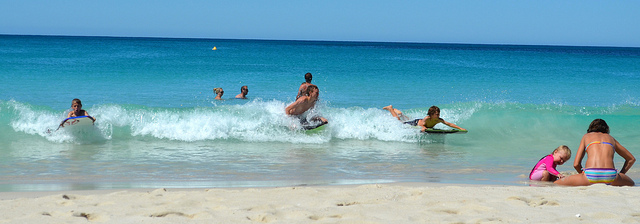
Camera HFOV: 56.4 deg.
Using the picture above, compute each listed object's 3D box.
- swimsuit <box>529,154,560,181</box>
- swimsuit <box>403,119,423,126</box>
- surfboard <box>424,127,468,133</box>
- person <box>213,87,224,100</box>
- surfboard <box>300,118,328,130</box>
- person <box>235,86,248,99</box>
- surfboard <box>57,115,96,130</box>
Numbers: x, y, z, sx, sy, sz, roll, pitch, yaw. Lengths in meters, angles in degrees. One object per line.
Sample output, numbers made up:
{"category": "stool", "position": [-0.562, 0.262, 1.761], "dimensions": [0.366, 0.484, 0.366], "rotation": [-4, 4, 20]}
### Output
{"category": "swimsuit", "position": [24.503, 6.069, 65.089], "dimensions": [2.892, 2.814, 0.349], "rotation": [2, 2, 4]}
{"category": "swimsuit", "position": [10.630, 1.182, 69.217], "dimensions": [1.644, 0.732, 0.290], "rotation": [1, 2, 3]}
{"category": "surfboard", "position": [14.834, 2.124, 69.033], "dimensions": [6.970, 0.471, 1.143], "rotation": [0, 4, 2]}
{"category": "person", "position": [-12.879, -2.377, 76.265], "dimensions": [0.924, 1.466, 1.255], "rotation": [1, 2, -35]}
{"category": "surfboard", "position": [-0.698, 1.425, 69.090], "dimensions": [2.454, 0.352, 1.304], "rotation": [-7, -15, 20]}
{"category": "person", "position": [-9.900, -2.536, 76.315], "dimensions": [1.160, 1.631, 1.028], "rotation": [3, 2, 17]}
{"category": "surfboard", "position": [-27.596, 1.166, 67.761], "dimensions": [3.722, 1.472, 0.759], "rotation": [-10, 52, -11]}
